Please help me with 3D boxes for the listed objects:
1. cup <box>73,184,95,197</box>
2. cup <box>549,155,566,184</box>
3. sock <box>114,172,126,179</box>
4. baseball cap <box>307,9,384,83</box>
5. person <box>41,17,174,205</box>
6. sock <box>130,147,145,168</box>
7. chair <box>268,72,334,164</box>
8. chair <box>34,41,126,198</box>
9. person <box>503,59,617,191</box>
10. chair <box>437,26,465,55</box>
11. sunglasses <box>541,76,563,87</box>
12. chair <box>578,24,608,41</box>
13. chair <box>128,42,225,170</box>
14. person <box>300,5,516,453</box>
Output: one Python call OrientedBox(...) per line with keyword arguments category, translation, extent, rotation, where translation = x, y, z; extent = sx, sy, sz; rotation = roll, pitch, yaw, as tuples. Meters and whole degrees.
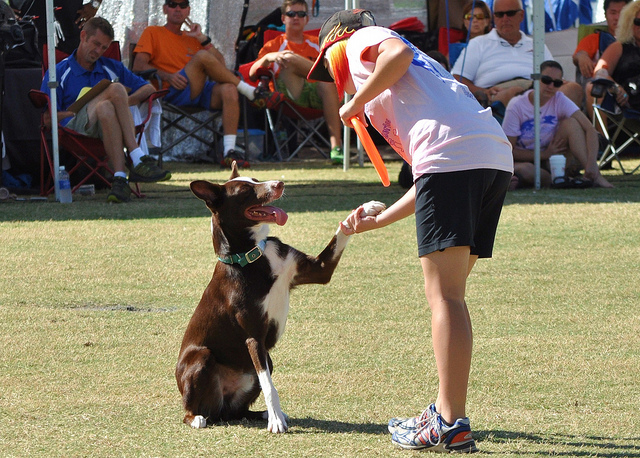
OrientedBox(category="cup", translation=(-2.522, -0.402, 14.330), extent=(0.177, 0.122, 0.133), rotation=(-1, -8, 1))
OrientedBox(category="cup", translation=(2.460, -0.629, 13.982), extent=(0.165, 0.278, 0.138), rotation=(2, 8, -1))
OrientedBox(category="sock", translation=(-2.038, -0.547, 13.597), extent=(0.115, 0.058, 0.111), rotation=(1, 8, -11))
OrientedBox(category="baseball cap", translation=(0.127, -1.299, 9.537), extent=(0.274, 0.510, 0.538), rotation=(-4, 10, -39))
OrientedBox(category="person", translation=(-2.252, -1.241, 13.884), extent=(1.230, 1.845, 1.174), rotation=(-1, 8, -19))
OrientedBox(category="sock", translation=(-1.915, -0.741, 13.910), extent=(0.081, 0.224, 0.095), rotation=(-1, 10, 1))
OrientedBox(category="chair", translation=(-0.308, -1.404, 17.237), extent=(0.885, 1.175, 0.699), rotation=(-3, 1, -22))
OrientedBox(category="chair", translation=(-2.448, -1.130, 14.058), extent=(1.012, 1.424, 1.030), rotation=(-8, 7, -29))
OrientedBox(category="person", translation=(2.441, -1.079, 14.007), extent=(1.046, 1.315, 0.632), rotation=(3, 8, 3))
OrientedBox(category="chair", translation=(1.672, -2.513, 17.644), extent=(0.350, 0.186, 0.504), rotation=(6, 48, 3))
OrientedBox(category="sunglasses", translation=(2.381, -1.519, 13.883), extent=(0.219, 0.106, 0.120), rotation=(4, 8, 10))
OrientedBox(category="chair", translation=(3.297, -2.432, 16.444), extent=(0.257, 0.249, 0.262), rotation=(3, 14, 13))
OrientedBox(category="chair", translation=(-1.637, -1.575, 16.238), extent=(1.083, 1.541, 1.150), rotation=(-6, -13, 7))
OrientedBox(category="person", translation=(0.666, -0.013, 9.185), extent=(1.206, 2.907, 0.790), rotation=(3, 8, 10))
